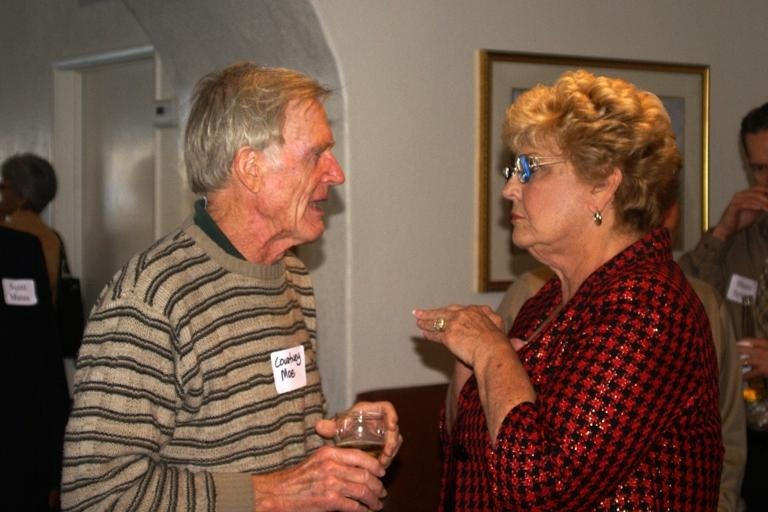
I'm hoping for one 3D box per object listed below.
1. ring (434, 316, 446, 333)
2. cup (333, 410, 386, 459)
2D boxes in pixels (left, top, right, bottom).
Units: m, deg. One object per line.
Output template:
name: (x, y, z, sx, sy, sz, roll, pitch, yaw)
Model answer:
ring: (0.203, 0.250, 2.611, 0.034, 0.052, 0.018, -4, -21, 42)
cup: (-0.084, 0.624, 2.464, 0.153, 0.181, 0.162, 3, -16, 1)
